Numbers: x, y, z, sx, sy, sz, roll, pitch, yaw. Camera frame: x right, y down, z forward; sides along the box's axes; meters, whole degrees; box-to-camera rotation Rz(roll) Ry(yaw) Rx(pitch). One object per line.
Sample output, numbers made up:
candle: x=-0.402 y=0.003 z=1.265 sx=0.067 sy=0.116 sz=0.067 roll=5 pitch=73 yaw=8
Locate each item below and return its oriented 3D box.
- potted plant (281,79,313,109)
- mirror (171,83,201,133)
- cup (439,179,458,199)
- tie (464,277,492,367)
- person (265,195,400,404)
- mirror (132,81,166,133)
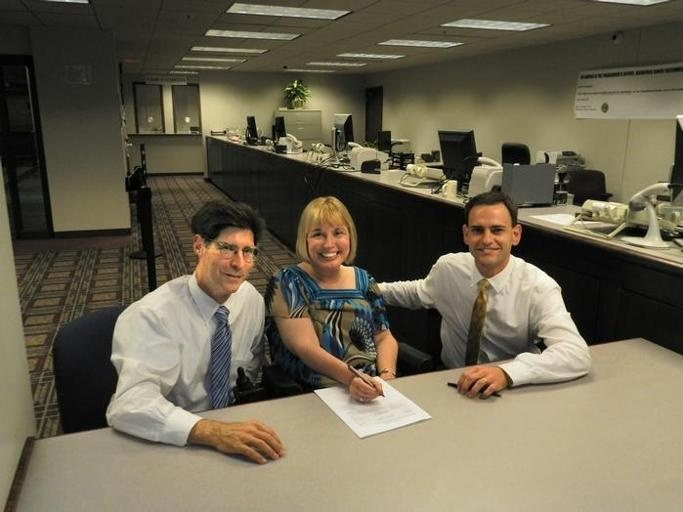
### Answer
potted plant: x=-1.527 y=-5.309 z=15.335 sx=0.861 sy=0.924 sz=0.913 roll=2 pitch=10 yaw=6
mirror: x=-5.078 y=-4.739 z=14.745 sx=0.895 sy=1.460 sz=0.439 roll=-2 pitch=14 yaw=-8
cup: x=0.920 y=-0.578 z=4.074 sx=0.180 sy=0.190 sz=0.120 roll=-2 pitch=10 yaw=-14
tie: x=0.701 y=0.356 z=2.388 sx=0.082 sy=0.544 sz=0.046 roll=7 pitch=-4 yaw=6
person: x=-0.005 y=0.158 z=2.500 sx=0.700 sy=1.089 sz=0.855 roll=-6 pitch=6 yaw=-33
mirror: x=-6.181 y=-4.704 z=14.621 sx=0.906 sy=1.457 sz=0.342 roll=-7 pitch=15 yaw=-26
